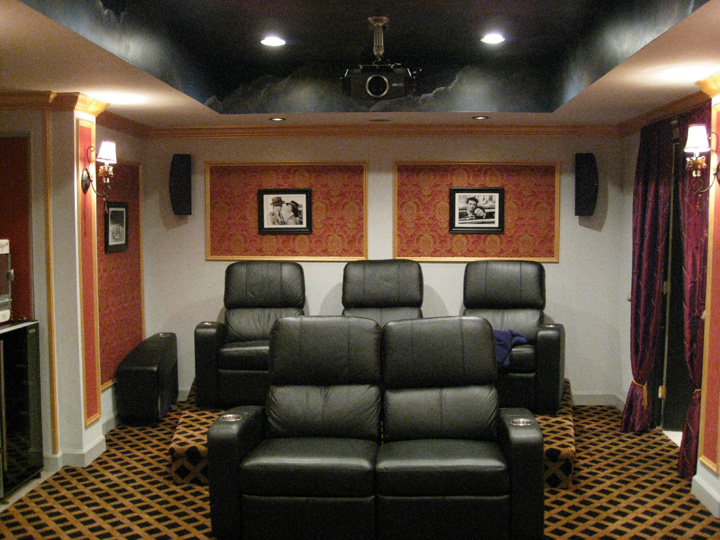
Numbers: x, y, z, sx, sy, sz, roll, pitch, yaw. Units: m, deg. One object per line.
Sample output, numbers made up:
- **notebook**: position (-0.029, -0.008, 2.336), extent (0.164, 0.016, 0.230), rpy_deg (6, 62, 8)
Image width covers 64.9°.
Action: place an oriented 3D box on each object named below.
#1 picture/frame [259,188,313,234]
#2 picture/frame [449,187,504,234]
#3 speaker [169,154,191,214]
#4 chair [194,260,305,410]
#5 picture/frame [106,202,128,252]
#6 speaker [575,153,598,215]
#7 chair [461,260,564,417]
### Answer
- **picture/frame**: position (-0.815, -0.666, 6.253), extent (0.510, 0.430, 0.054), rpy_deg (0, 0, -1)
- **picture/frame**: position (1.294, -0.667, 6.184), extent (0.516, 0.429, 0.053), rpy_deg (0, 0, 2)
- **speaker**: position (-1.969, -0.932, 6.157), extent (0.229, 0.644, 0.120), rpy_deg (-4, 9, -18)
- **chair**: position (-0.991, 0.619, 5.669), extent (1.245, 1.315, 1.025), rpy_deg (0, 1, -6)
- **picture/frame**: position (-2.414, -0.435, 5.613), extent (0.528, 0.521, 0.040), rpy_deg (6, 6, 44)
- **speaker**: position (2.406, -0.911, 6.016), extent (0.224, 0.644, 0.130), rpy_deg (1, 9, 12)
- **chair**: position (1.593, 0.575, 5.762), extent (1.216, 1.380, 1.286), rpy_deg (-1, -4, 13)
